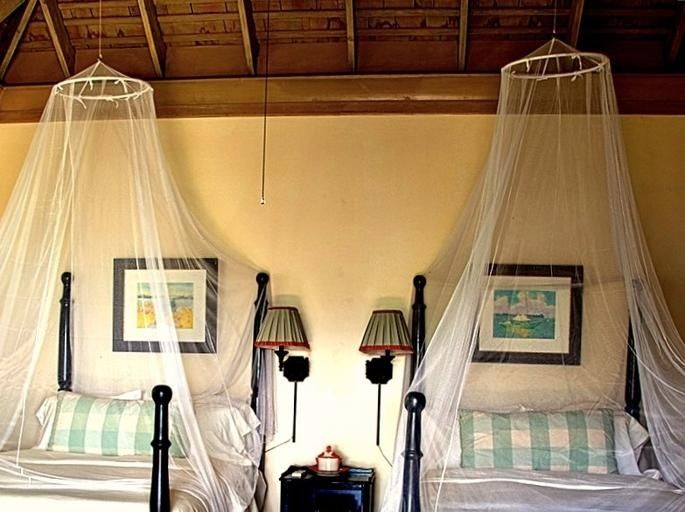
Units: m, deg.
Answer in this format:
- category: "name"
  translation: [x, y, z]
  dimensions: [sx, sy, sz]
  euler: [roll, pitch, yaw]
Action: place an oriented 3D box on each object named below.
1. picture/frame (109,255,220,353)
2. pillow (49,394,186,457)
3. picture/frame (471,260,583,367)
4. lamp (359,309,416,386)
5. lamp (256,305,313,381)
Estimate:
- category: "picture/frame"
  translation: [-1.013, 0.287, 3.425]
  dimensions: [0.647, 0.524, 0.012]
  euler: [5, -7, -42]
- category: "pillow"
  translation: [-1.238, 0.949, 3.339]
  dimensions: [0.660, 0.372, 0.157]
  euler: [4, 9, -7]
- category: "picture/frame"
  translation: [0.984, 0.306, 3.211]
  dimensions: [0.580, 0.664, 0.052]
  euler: [2, 1, -2]
- category: "lamp"
  translation: [0.298, 0.612, 4.135]
  dimensions: [0.347, 0.520, 0.403]
  euler: [0, -18, 4]
- category: "lamp"
  translation: [-0.414, 0.606, 4.184]
  dimensions: [0.347, 0.519, 0.392]
  euler: [1, -17, 1]
